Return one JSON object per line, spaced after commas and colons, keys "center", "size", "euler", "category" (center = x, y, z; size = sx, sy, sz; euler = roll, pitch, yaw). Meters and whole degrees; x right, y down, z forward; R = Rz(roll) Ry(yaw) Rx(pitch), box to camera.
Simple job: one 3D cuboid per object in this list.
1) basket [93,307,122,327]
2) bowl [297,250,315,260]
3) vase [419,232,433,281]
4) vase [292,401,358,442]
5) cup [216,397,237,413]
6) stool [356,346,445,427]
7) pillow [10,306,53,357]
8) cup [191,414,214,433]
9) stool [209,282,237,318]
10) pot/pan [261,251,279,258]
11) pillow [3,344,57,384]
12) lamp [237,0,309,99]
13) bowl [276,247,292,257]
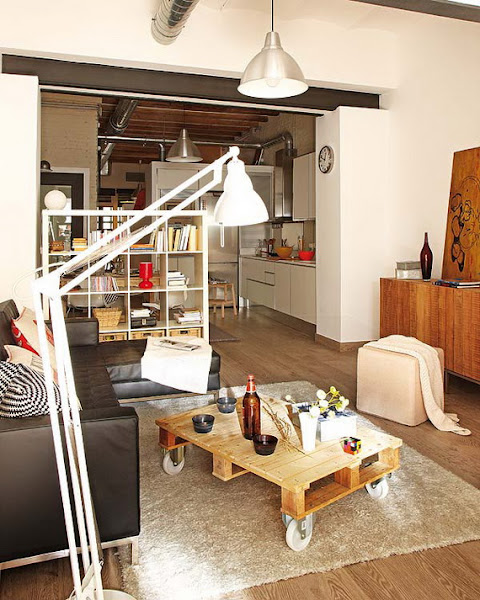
{"center": [-1.307, 0.155, 4.571], "size": [0.191, 0.157, 0.246], "euler": [0, -1, -16], "category": "basket"}
{"center": [0.950, -0.644, 6.709], "size": [0.175, 0.128, 0.182], "euler": [-1, 0, 0], "category": "bowl"}
{"center": [1.769, -0.417, 4.424], "size": [0.099, 0.451, 0.246], "euler": [1, 5, 21], "category": "vase"}
{"center": [0.426, 0.558, 2.124], "size": [0.154, 0.081, 0.223], "euler": [-2, 4, -19], "category": "vase"}
{"center": [-0.073, 0.536, 2.424], "size": [0.078, 0.049, 0.081], "euler": [1, 2, 0], "category": "cup"}
{"center": [1.146, 0.513, 3.351], "size": [0.515, 0.552, 0.485], "euler": [7, 12, 33], "category": "stool"}
{"center": [-1.039, 0.157, 2.274], "size": [0.083, 0.215, 0.245], "euler": [-20, 9, -2], "category": "pillow"}
{"center": [-0.172, 0.559, 2.140], "size": [0.077, 0.050, 0.077], "euler": [2, 11, 0], "category": "cup"}
{"center": [-0.352, -0.027, 8.998], "size": [0.576, 0.601, 0.610], "euler": [0, 4, -3], "category": "stool"}
{"center": [0.523, -0.838, 8.539], "size": [0.241, 0.096, 0.172], "euler": [-1, -2, 24], "category": "pot/pan"}
{"center": [-0.981, 0.277, 2.182], "size": [0.205, 0.064, 0.215], "euler": [31, -5, 38], "category": "pillow"}
{"center": [0.184, -1.400, 2.714], "size": [0.403, 0.732, 0.449], "euler": [-1, 0, -2], "category": "lamp"}
{"center": [0.727, -0.777, 7.569], "size": [0.169, 0.125, 0.170], "euler": [0, -1, 0], "category": "bowl"}
